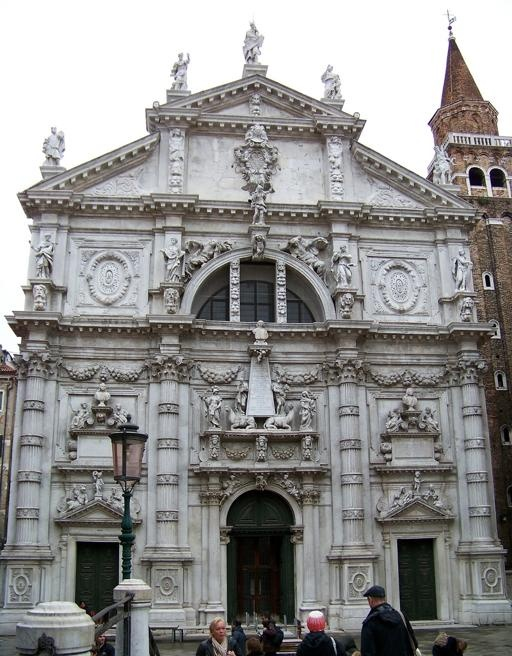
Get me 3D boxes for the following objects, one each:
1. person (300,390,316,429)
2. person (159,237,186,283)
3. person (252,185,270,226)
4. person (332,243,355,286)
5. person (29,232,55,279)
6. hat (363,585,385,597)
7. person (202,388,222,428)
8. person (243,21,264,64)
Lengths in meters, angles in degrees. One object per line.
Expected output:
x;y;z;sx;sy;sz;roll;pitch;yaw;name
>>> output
1.694;2.738;27.177;0.482;1.503;0.825;-7;-22;12;person
-2.840;-2.313;27.811;0.764;1.962;0.741;2;-22;-10;person
0.122;-4.398;29.091;0.617;1.748;0.498;6;-23;-19;person
2.989;-2.101;28.495;0.740;1.728;0.632;-8;-22;16;person
-7.050;-2.394;27.309;0.588;1.928;0.745;4;-22;-15;person
1.318;2.975;9.262;0.184;0.133;0.244;17;-19;-42;hat
-1.371;2.628;26.705;0.580;1.474;0.687;6;-23;-20;person
-0.111;-11.124;32.086;0.751;1.910;0.600;-1;-22;-1;person
